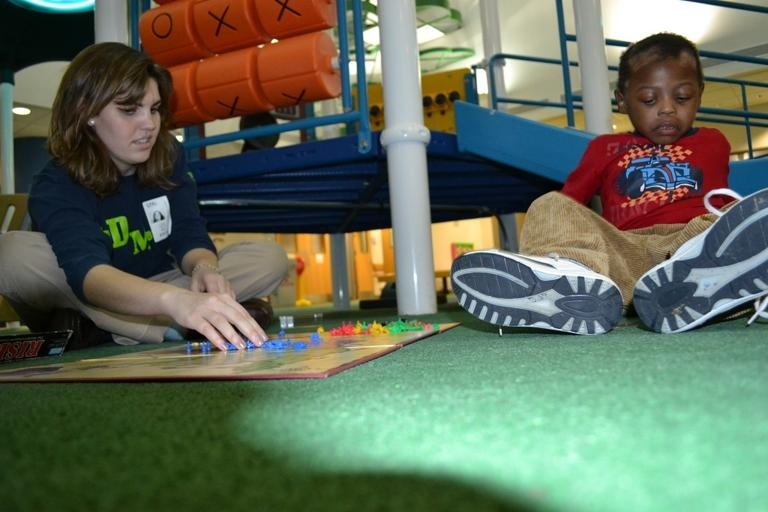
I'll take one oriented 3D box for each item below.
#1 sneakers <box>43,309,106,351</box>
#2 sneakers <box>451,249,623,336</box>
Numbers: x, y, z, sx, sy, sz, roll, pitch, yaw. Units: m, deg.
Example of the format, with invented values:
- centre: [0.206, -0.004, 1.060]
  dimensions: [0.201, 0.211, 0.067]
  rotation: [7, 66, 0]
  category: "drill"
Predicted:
- centre: [-0.988, 0.238, 1.896]
  dimensions: [0.221, 0.074, 0.212]
  rotation: [3, -1, -37]
  category: "sneakers"
- centre: [0.351, 0.085, 1.452]
  dimensions: [0.418, 0.179, 0.195]
  rotation: [10, 20, 14]
  category: "sneakers"
